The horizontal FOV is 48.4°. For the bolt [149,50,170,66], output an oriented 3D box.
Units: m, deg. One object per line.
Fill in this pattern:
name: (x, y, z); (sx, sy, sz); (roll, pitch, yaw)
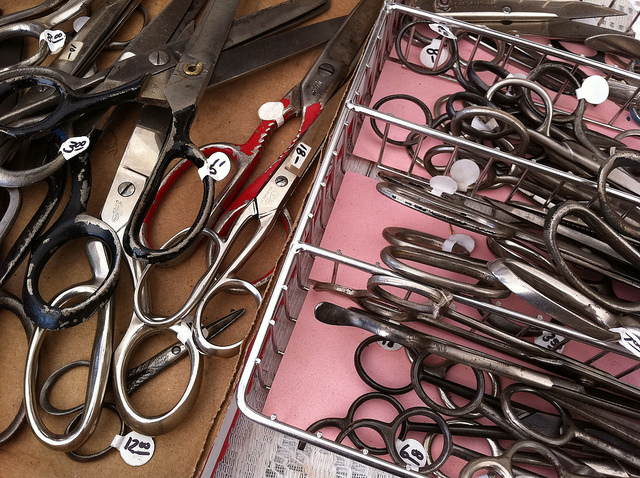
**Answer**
bolt: (-0.263, -0.299, 1.167); (0.025, 0.027, 0.005); (-1, -18, 1)

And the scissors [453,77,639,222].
scissors: (0.354, -0.146, 1.101); (0.287, 0.175, 0.013); (29, -7, -5)

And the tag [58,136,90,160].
tag: (-0.366, -0.139, 1.065); (0.042, 0.025, 0.010); (-24, -4, -9)

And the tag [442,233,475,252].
tag: (0.207, 0.002, 1.061); (0.043, 0.027, 0.022); (-8, 3, -7)

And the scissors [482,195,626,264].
scissors: (0.338, -0.012, 1.012); (0.163, 0.027, 0.013); (28, -46, 11)

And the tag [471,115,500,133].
tag: (0.258, -0.182, 1.121); (0.028, 0.034, 0.008); (-2, -14, 4)

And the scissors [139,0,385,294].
scissors: (-0.046, -0.165, 1.288); (0.234, 0.682, 0.069); (29, -21, 20)

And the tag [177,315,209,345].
tag: (-0.187, 0.129, 1.034); (0.039, 0.042, 0.019); (-6, -5, 23)

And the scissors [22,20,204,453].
scissors: (-0.276, 0.017, 1.133); (0.200, 0.617, 0.034); (18, -19, 6)

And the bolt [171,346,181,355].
bolt: (-0.213, 0.163, 1.056); (0.010, 0.011, 0.003); (-8, -6, 1)

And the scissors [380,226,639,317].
scissors: (0.230, 0.015, 0.959); (0.267, 0.169, 0.020); (18, -57, 2)

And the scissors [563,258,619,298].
scissors: (0.377, 0.052, 0.992); (0.071, 0.018, 0.014); (37, -65, 4)

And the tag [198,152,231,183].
tag: (-0.154, -0.108, 1.038); (0.042, 0.036, 0.010); (-22, -6, -6)

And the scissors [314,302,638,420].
scissors: (0.209, 0.169, 0.973); (0.400, 0.047, 0.021); (19, -51, 13)

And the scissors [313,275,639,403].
scissors: (0.175, 0.145, 1.000); (0.486, 0.027, 0.169); (22, 17, 18)

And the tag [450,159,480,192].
tag: (0.214, -0.101, 1.071); (0.036, 0.010, 0.047); (11, -73, 11)

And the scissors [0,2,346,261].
scissors: (-0.206, -0.209, 1.225); (0.375, 0.443, 0.041); (34, -12, 12)

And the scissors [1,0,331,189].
scissors: (-0.265, -0.282, 1.245); (0.645, 0.228, 0.031); (-23, -11, -15)

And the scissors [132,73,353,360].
scissors: (-0.093, -0.019, 1.115); (0.173, 0.540, 0.025); (29, -25, 13)

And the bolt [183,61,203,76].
bolt: (-0.203, -0.277, 1.148); (0.023, 0.024, 0.008); (-18, -21, -12)

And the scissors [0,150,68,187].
scissors: (-0.417, -0.099, 1.044); (0.054, 0.056, 0.014); (-21, -47, -18)

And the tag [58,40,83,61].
tag: (-0.423, -0.324, 1.215); (0.030, 0.045, 0.009); (26, -24, 1)
